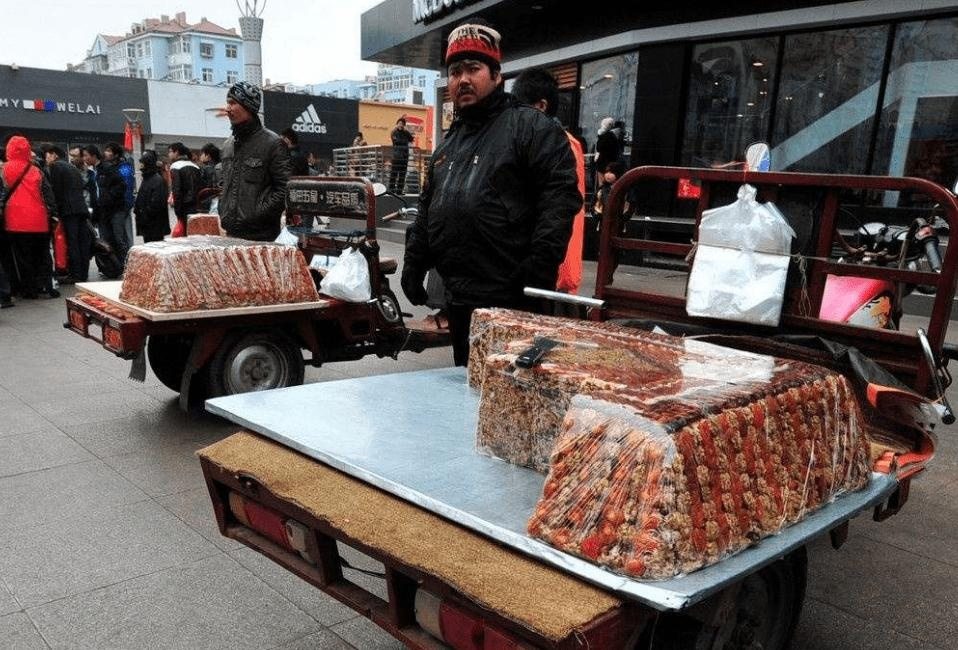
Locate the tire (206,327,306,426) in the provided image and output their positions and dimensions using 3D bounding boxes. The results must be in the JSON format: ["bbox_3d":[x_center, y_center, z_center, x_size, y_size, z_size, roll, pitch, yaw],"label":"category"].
[{"bbox_3d":[-1.646,0.341,4.324,0.842,0.819,0.293,-4,9,-40],"label":"tire"}]

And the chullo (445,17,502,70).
[{"bbox_3d":[-0.035,-1.776,3.821,0.374,0.220,0.382,3,4,-15],"label":"chullo"}]

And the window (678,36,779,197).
[{"bbox_3d":[5.728,-4.965,13.399,1.948,3.442,0.189,4,-12,16],"label":"window"}]

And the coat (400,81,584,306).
[{"bbox_3d":[0.048,-0.823,4.038,1.390,1.327,0.758,3,6,42],"label":"coat"}]

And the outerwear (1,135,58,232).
[{"bbox_3d":[-7.404,-2.264,9.661,0.608,1.556,0.321,-12,21,-34],"label":"outerwear"}]

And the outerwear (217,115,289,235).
[{"bbox_3d":[-2.552,-1.465,6.772,0.926,1.556,0.595,6,10,19],"label":"outerwear"}]

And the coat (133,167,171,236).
[{"bbox_3d":[-6.479,-2.181,11.959,0.675,1.875,0.812,-6,18,-39],"label":"coat"}]

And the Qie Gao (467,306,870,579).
[{"bbox_3d":[0.560,0.363,2.097,0.817,0.364,1.233,-9,14,-35],"label":"Qie Gao"}]

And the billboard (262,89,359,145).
[{"bbox_3d":[-11.226,-13.912,40.041,7.497,3.284,0.125,10,18,17],"label":"billboard"}]

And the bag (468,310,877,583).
[{"bbox_3d":[0.693,0.320,2.639,1.207,0.490,1.825,-14,13,-8],"label":"bag"}]

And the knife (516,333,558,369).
[{"bbox_3d":[0.236,0.100,2.381,0.092,0.025,0.179,10,30,31],"label":"knife"}]

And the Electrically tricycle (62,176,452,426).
[{"bbox_3d":[-1.867,-0.388,6.122,2.102,1.892,3.483,14,17,43],"label":"Electrically tricycle"}]
